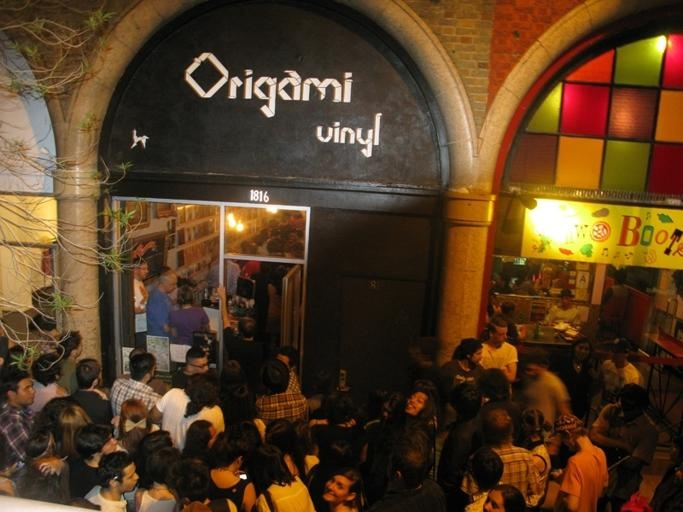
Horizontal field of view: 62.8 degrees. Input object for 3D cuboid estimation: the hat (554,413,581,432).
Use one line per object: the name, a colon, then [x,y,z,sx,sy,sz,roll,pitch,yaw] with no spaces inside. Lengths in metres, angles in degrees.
hat: [2.458,1.843,6.109,0.195,0.217,0.278,2,5,-17]

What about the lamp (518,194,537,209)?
lamp: [2.850,-0.842,8.573,0.265,0.221,0.158,5,5,18]

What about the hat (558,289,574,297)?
hat: [4.107,0.663,10.216,0.195,0.134,0.193,2,2,7]
